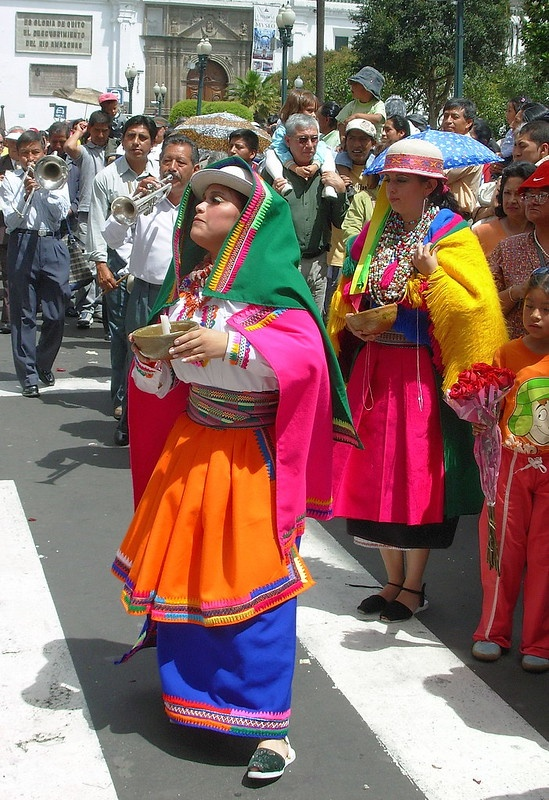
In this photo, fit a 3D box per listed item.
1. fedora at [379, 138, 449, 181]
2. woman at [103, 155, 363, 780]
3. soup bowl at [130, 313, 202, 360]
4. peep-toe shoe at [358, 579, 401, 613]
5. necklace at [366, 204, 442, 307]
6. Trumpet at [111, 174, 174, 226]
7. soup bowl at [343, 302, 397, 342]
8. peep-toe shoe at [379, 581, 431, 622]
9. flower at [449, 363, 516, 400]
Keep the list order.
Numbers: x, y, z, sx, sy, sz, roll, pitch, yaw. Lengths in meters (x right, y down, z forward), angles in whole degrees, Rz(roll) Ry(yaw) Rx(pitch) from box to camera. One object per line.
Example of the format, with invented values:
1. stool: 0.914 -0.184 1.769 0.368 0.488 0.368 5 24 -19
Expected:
1. fedora: 0.579 -0.968 2.891 0.198 0.085 0.184 12 33 17
2. woman: -0.192 0.146 2.145 0.705 1.714 0.679 5 7 11
3. soup bowl: -0.283 -0.168 2.018 0.162 0.064 0.153 -15 15 4
4. peep-toe shoe: 0.481 0.867 3.229 0.089 0.058 0.250 3 16 41
5. necklace: 0.597 -0.598 3.123 0.279 0.424 0.113 4 -20 47
6. Trumpet: -0.926 -1.362 4.947 0.214 0.238 0.506 -2 25 47
7. soup bowl: 0.405 -0.316 2.938 0.159 0.089 0.150 -13 -10 -2
8. peep-toe shoe: 0.576 0.894 3.172 0.095 0.090 0.268 -6 -4 41
9. flower: 0.692 -0.061 2.413 0.150 0.087 0.151 -17 11 26
